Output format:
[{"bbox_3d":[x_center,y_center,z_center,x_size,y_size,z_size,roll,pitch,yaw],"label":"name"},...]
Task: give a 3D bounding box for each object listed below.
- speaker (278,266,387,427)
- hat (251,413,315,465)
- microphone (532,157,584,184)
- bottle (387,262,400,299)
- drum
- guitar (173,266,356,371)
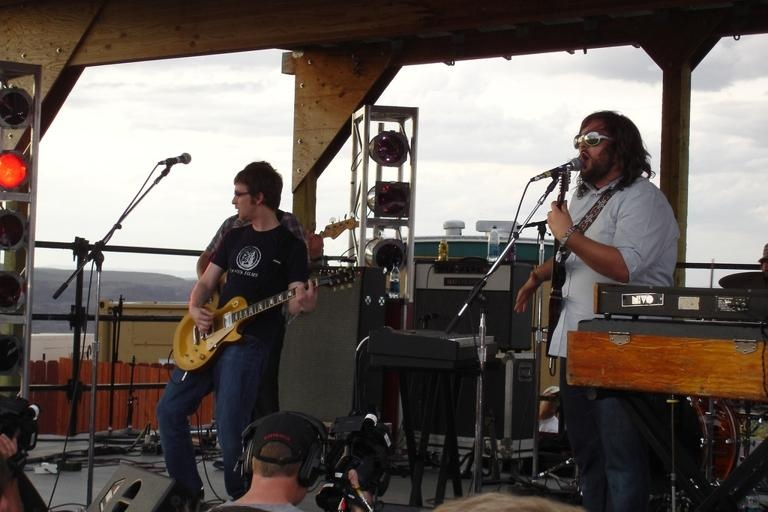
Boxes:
[{"bbox_3d":[-0.503,0.803,8.865,0.900,1.445,0.649,0,8,-4],"label":"speaker"},{"bbox_3d":[-0.553,1.011,5.238,0.328,0.282,0.303,3,0,-13],"label":"hat"},{"bbox_3d":[1.199,-0.574,6.449,0.351,0.112,0.098,-30,-50,26],"label":"microphone"},{"bbox_3d":[0.092,0.253,8.859,0.121,0.340,0.284,1,-5,0],"label":"bottle"},{"bbox_3d":[2.529,1.492,7.379,0.249,0.778,0.741,2,-13,-4],"label":"drum"},{"bbox_3d":[-0.933,0.460,7.048,1.460,0.196,0.565,-28,35,-1],"label":"guitar"}]
